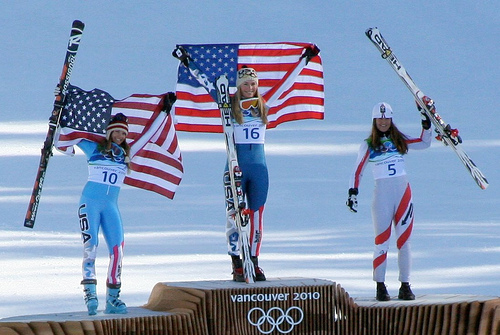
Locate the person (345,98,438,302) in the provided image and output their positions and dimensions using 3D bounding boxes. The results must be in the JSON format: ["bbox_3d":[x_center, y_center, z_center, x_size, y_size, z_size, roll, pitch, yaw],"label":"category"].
[{"bbox_3d":[1.970,0.419,14.718,1.015,2.721,0.858,-17,-22,40],"label":"person"}]

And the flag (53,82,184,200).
[{"bbox_3d":[-1.756,-0.395,14.407,1.553,1.105,0.215,15,-28,-27],"label":"flag"}]

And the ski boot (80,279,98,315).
[{"bbox_3d":[-2.038,1.618,14.024,0.195,0.456,0.499,-6,5,-10],"label":"ski boot"}]

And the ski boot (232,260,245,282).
[{"bbox_3d":[-0.155,1.396,14.656,0.062,0.305,0.200,12,-22,-40],"label":"ski boot"}]

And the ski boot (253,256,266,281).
[{"bbox_3d":[0.123,1.351,14.687,0.134,0.348,0.264,-6,-17,10],"label":"ski boot"}]

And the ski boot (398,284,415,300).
[{"bbox_3d":[2.098,1.677,14.695,0.217,0.224,0.285,-4,-16,7],"label":"ski boot"}]

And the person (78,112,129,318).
[{"bbox_3d":[-1.896,0.596,14.194,0.624,2.647,0.402,-1,-17,-7],"label":"person"}]
